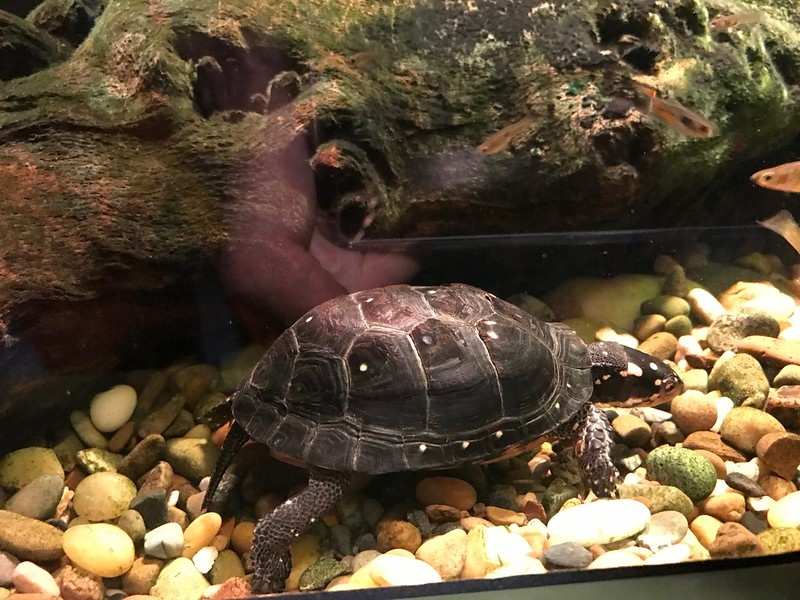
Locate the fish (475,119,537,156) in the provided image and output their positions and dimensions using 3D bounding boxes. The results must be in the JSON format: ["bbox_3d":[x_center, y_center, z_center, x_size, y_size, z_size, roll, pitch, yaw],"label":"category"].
[{"bbox_3d":[0.423,-0.668,3.141,0.309,0.095,0.040,-25,24,19],"label":"fish"}]

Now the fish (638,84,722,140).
[{"bbox_3d":[1.081,-0.724,2.994,0.270,0.280,0.233,-7,32,11],"label":"fish"}]
